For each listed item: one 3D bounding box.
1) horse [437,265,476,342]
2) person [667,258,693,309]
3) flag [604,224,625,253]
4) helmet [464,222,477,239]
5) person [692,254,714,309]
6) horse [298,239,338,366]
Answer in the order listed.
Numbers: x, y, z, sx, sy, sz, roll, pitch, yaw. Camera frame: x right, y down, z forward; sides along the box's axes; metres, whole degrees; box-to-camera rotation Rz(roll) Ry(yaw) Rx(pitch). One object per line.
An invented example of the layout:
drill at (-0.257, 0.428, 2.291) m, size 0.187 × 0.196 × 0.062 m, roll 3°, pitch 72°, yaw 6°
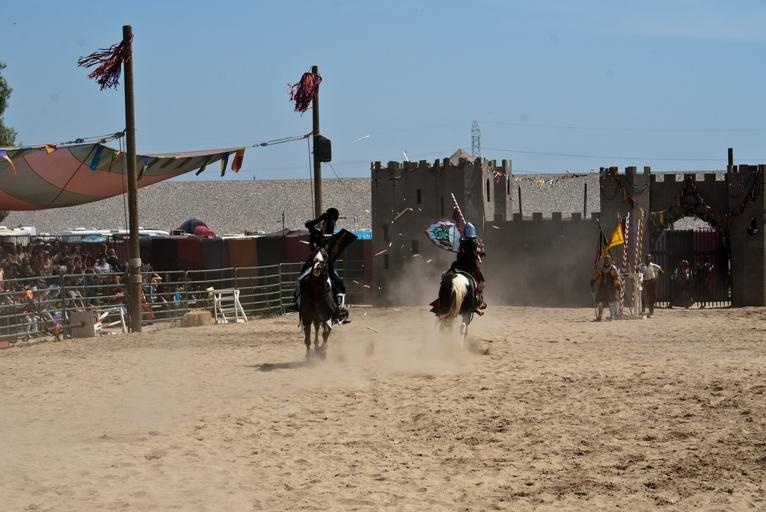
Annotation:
horse at (2.182, 0.910, 32.392) m, size 0.745 × 1.860 × 2.644 m, roll -3°, pitch 14°, yaw 10°
person at (10.044, 0.876, 41.672) m, size 0.745 × 1.615 × 0.353 m, roll -2°, pitch -1°, yaw 12°
flag at (7.383, -0.587, 39.358) m, size 1.040 × 1.037 × 0.087 m, roll -10°, pitch 38°, yaw -41°
helmet at (2.310, -0.710, 32.349) m, size 0.368 × 0.420 × 0.481 m, roll -1°, pitch -1°, yaw -14°
person at (10.811, 0.791, 41.683) m, size 0.496 × 1.717 × 0.852 m, roll -3°, pitch -2°, yaw 41°
horse at (-1.627, 1.165, 31.104) m, size 0.882 × 2.806 × 1.081 m, roll -1°, pitch -2°, yaw -24°
